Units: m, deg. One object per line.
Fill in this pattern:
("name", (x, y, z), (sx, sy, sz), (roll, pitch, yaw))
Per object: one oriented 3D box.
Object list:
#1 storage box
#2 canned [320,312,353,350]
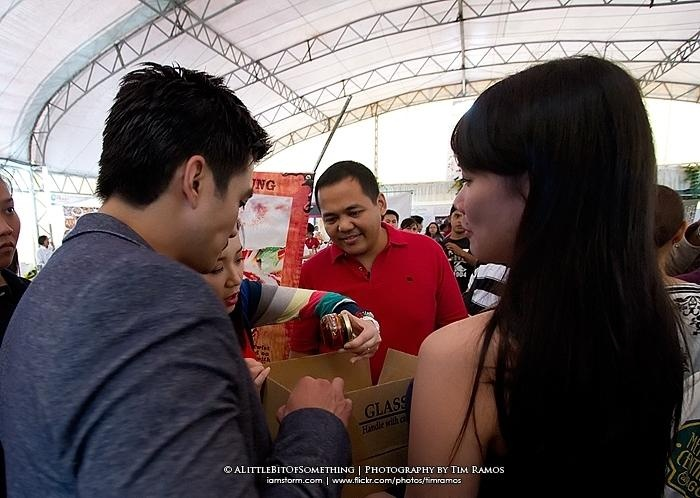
("storage box", (-0.018, 0.502, 1.512), (0.347, 0.348, 0.438), (-1, -3, -37))
("canned", (-0.048, 0.291, 1.745), (0.109, 0.126, 0.120), (-13, -4, -10))
